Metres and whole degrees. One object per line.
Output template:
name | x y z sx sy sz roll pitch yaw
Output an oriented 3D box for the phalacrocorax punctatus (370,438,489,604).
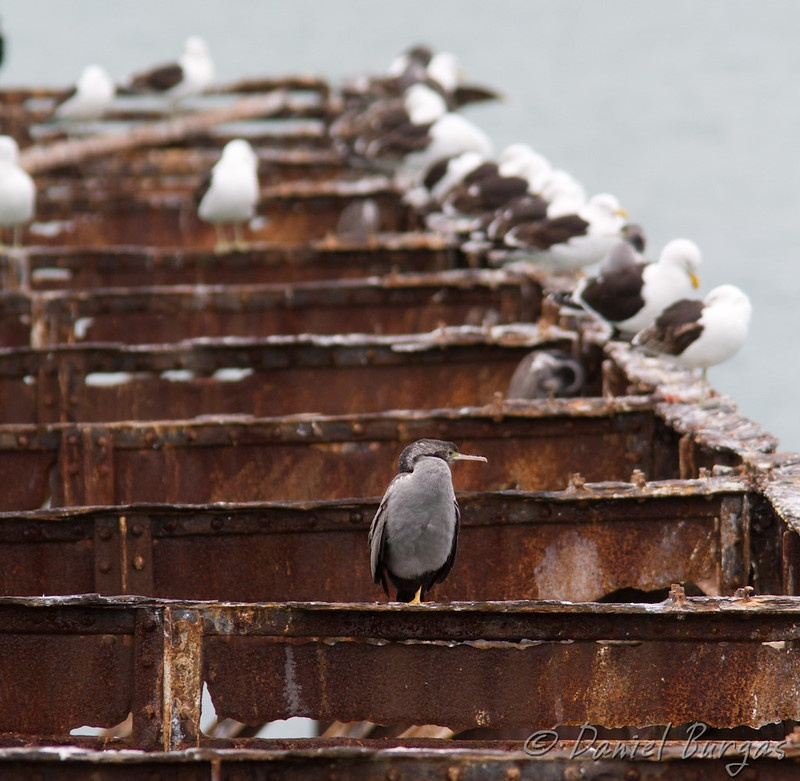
phalacrocorax punctatus | 0.162 0.733 16.188 0.463 0.849 0.663 11 -37 -22
